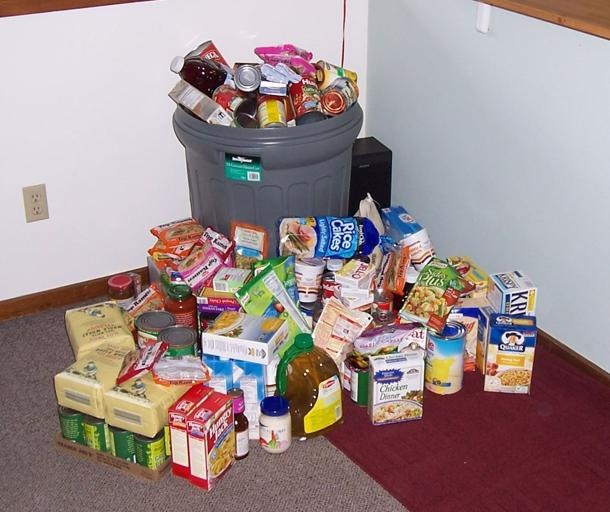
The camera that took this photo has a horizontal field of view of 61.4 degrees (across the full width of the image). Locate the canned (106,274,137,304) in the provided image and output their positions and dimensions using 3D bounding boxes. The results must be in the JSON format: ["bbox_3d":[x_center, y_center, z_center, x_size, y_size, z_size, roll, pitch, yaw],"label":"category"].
[{"bbox_3d":[-0.648,0.123,1.827,0.097,0.087,0.119,-10,28,-18],"label":"canned"}]

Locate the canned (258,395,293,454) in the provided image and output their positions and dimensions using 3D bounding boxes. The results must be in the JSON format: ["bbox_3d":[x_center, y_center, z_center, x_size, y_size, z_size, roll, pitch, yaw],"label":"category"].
[{"bbox_3d":[-0.075,0.442,1.344,0.088,0.169,0.053,-3,27,-5],"label":"canned"}]

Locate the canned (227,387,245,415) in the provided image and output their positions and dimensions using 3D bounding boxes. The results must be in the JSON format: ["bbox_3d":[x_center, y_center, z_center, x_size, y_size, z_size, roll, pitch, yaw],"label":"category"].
[{"bbox_3d":[-0.174,0.364,1.285,0.040,0.061,0.044,-18,38,-23],"label":"canned"}]

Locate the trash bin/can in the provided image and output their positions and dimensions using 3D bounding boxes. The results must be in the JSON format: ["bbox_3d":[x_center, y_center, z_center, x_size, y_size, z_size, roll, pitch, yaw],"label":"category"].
[{"bbox_3d":[-0.120,-0.365,2.059,0.630,0.883,0.608,-1,35,-1],"label":"trash bin/can"}]

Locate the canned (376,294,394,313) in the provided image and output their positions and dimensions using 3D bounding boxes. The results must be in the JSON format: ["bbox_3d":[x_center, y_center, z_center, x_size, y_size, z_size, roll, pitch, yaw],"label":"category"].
[{"bbox_3d":[0.246,0.148,1.592,0.053,0.049,0.054,2,27,4],"label":"canned"}]

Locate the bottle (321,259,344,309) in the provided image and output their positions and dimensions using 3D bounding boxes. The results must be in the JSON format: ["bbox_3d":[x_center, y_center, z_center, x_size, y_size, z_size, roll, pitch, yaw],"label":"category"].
[{"bbox_3d":[0.088,0.091,1.595,0.080,0.130,0.079,1,39,-1],"label":"bottle"}]
